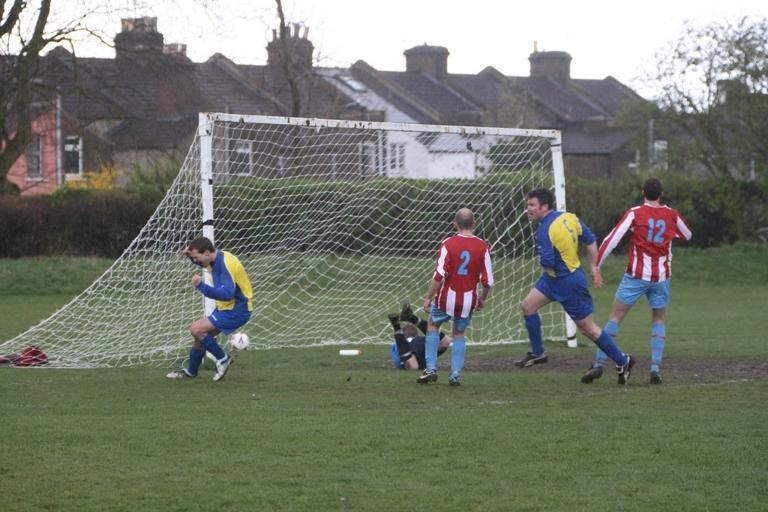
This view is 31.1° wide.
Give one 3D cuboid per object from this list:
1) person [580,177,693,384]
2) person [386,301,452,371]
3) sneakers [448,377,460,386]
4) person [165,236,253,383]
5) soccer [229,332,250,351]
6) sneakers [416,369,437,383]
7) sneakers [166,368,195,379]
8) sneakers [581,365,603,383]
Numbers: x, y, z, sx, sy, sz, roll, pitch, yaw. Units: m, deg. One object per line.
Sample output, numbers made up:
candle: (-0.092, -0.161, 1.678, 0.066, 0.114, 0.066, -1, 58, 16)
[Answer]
person: (4.886, 0.451, 25.792, 1.481, 3.862, 0.475, 1, -1, 8)
person: (0.715, 1.616, 26.696, 1.027, 0.797, 1.877, 6, 36, -24)
sneakers: (1.333, 2.354, 25.782, 0.171, 0.119, 0.169, -1, 1, 26)
person: (-3.137, 1.011, 25.992, 1.268, 2.696, 0.638, 2, -1, -4)
soccer: (-2.820, 1.700, 27.274, 0.373, 0.346, 0.357, 1, -1, -4)
sneakers: (0.885, 2.267, 25.844, 0.461, 0.242, 0.179, -10, -16, 23)
sneakers: (-3.829, 2.264, 26.299, 0.571, 0.211, 0.196, 5, -3, -10)
sneakers: (3.880, 2.231, 25.809, 0.448, 0.196, 0.247, -33, -46, 15)
